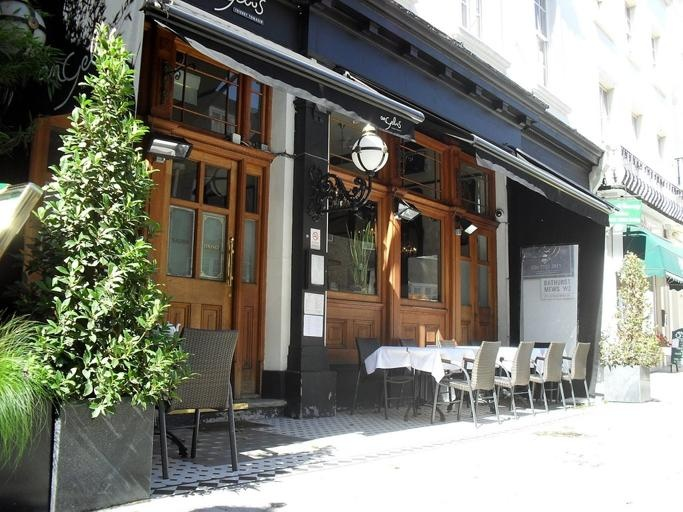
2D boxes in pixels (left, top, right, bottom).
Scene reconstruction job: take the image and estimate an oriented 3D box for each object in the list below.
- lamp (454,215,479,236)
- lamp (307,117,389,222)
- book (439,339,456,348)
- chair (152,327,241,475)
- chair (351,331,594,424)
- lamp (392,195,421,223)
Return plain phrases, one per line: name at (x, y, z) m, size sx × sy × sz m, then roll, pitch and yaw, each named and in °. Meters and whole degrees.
lamp at (2.506, -0.577, 11.508) m, size 0.370 × 0.378 × 0.853 m, roll 0°, pitch -6°, yaw 12°
lamp at (0.096, -1.124, 7.843) m, size 0.963 × 1.383 × 0.508 m, roll -4°, pitch -17°, yaw 14°
book at (1.828, 1.487, 9.733) m, size 0.142 × 0.219 × 0.172 m, roll 2°, pitch -10°, yaw -9°
chair at (-1.396, 1.268, 5.141) m, size 0.859 × 1.284 × 0.881 m, roll 1°, pitch -7°, yaw 22°
chair at (1.583, 1.706, 8.227) m, size 2.585 × 0.993 × 1.715 m, roll 2°, pitch -6°, yaw -8°
lamp at (1.201, -0.814, 10.149) m, size 0.400 × 0.385 × 0.741 m, roll -1°, pitch -7°, yaw 18°
